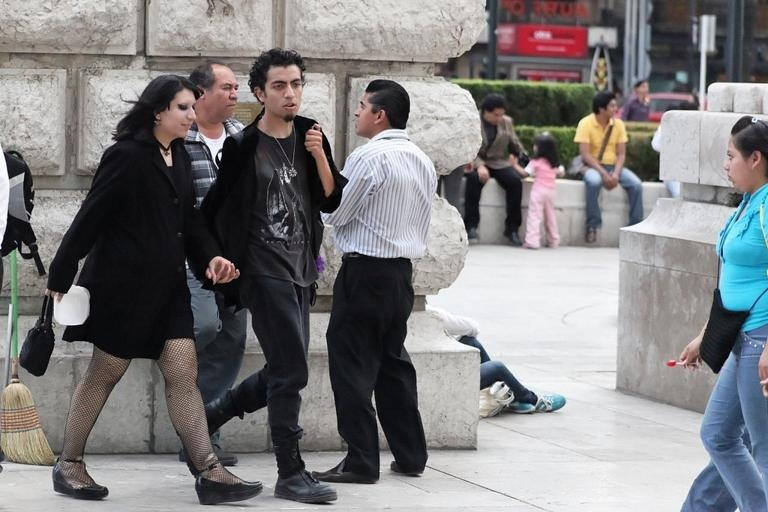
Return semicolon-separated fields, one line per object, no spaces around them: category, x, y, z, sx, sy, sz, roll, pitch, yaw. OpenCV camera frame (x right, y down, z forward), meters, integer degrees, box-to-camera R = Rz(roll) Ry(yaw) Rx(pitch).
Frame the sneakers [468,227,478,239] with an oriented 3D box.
sneakers;1.224;-0.294;20.081;0.111;0.183;0.379;1;6;12

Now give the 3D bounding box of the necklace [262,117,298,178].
necklace;-0.653;-0.661;9.396;0.225;0.292;0.072;-17;1;-11

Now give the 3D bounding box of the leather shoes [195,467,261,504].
leather shoes;-1.000;1.497;9.218;0.484;0.262;0.158;-2;-3;-3

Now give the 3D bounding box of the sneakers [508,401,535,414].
sneakers;1.089;1.220;11.483;0.251;0.102;0.084;-2;4;4

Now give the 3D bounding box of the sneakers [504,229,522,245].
sneakers;1.791;-0.228;20.190;0.175;0.195;0.226;2;-4;-41

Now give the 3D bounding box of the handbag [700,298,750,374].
handbag;2.020;0.476;8.704;0.127;0.407;0.332;4;28;-18

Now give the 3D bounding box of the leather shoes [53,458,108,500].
leather shoes;-1.934;1.431;9.189;0.478;0.223;0.163;6;3;33

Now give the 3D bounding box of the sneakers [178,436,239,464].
sneakers;-1.173;1.349;9.904;0.472;0.190;0.155;-1;3;8

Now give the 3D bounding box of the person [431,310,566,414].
person;0.868;0.834;11.312;1.126;0.892;0.363;-4;7;-35

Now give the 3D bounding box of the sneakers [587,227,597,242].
sneakers;2.893;-0.294;20.209;0.188;0.258;0.147;-2;9;10

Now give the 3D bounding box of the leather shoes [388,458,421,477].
leather shoes;0.137;1.465;9.870;0.080;0.095;0.233;-5;8;-36

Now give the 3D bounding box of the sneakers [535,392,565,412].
sneakers;1.323;1.182;11.510;0.275;0.096;0.115;-5;-10;-2

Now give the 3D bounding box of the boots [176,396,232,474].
boots;-1.116;1.250;9.607;0.515;0.481;0.223;-12;-23;41

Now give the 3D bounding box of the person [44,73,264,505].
person;-1.526;0.214;9.173;1.205;2.706;0.609;-1;6;-8

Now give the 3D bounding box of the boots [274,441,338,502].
boots;-0.425;1.424;9.269;0.531;0.380;0.248;1;1;19

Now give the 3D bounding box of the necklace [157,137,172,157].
necklace;-1.408;-0.698;9.294;0.033;0.094;0.072;-43;-12;29

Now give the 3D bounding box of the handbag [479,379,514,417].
handbag;0.783;1.140;11.288;0.446;0.180;0.151;-3;7;-18

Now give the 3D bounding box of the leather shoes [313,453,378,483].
leather shoes;-0.262;1.455;9.732;0.510;0.207;0.168;6;-8;4
